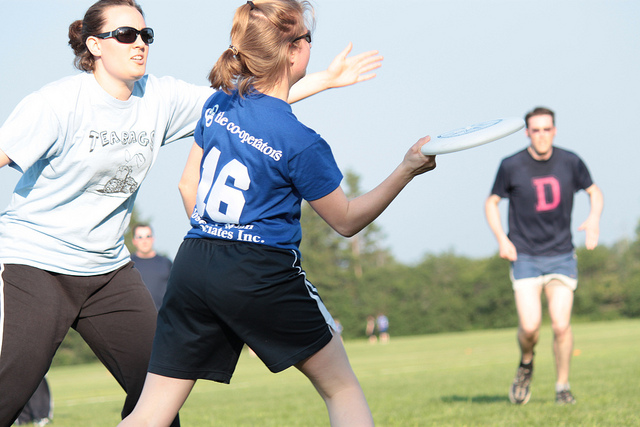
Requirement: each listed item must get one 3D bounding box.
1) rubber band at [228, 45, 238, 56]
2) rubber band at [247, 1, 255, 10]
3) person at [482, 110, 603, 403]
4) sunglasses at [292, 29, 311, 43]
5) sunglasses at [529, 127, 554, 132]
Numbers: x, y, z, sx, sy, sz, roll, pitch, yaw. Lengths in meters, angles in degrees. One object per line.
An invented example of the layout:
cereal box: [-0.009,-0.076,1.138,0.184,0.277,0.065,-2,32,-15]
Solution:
rubber band: [-0.564,-1.058,5.969,0.060,0.023,0.051,46,-11,-29]
rubber band: [-0.453,-1.357,5.990,0.023,0.056,0.050,-33,20,-16]
person: [2.096,0.372,8.530,1.053,2.694,0.407,-3,-3,11]
sunglasses: [-0.118,-1.161,6.057,0.088,0.030,0.085,-20,0,-6]
sunglasses: [2.073,-0.781,8.585,0.177,0.043,0.051,-2,-2,7]
